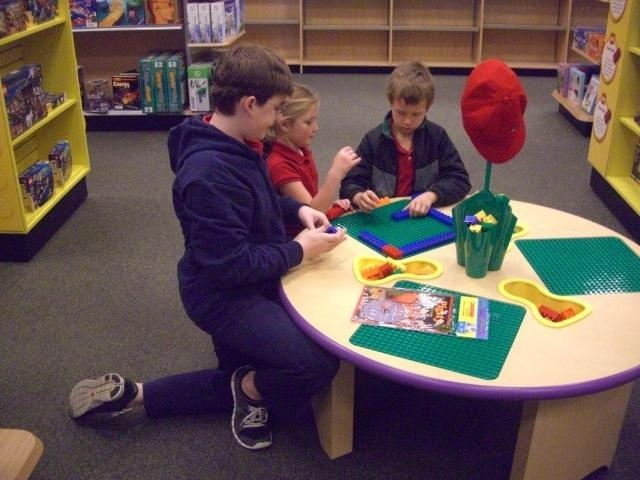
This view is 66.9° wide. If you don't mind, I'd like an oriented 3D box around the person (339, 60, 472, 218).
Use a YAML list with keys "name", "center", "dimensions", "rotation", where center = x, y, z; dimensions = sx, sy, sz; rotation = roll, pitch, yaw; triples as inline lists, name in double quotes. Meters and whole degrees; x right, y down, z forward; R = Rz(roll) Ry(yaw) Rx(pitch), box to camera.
- name: "person"
  center: [0.406, -0.437, 2.326]
  dimensions: [0.588, 0.783, 0.466]
  rotation: [-4, 26, 3]

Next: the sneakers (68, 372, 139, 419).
- name: "sneakers"
  center: [-0.835, 0.593, 1.825]
  dimensions: [0.277, 0.155, 0.114]
  rotation: [-5, -11, 23]

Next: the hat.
- name: "hat"
  center: [0.566, -0.407, 1.591]
  dimensions: [0.216, 0.344, 0.226]
  rotation: [16, 31, 27]

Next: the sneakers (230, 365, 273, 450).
- name: "sneakers"
  center: [-0.263, 0.588, 1.792]
  dimensions: [0.126, 0.316, 0.126]
  rotation: [-9, -6, -40]

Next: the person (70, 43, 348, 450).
- name: "person"
  center: [-0.375, 0.047, 1.794]
  dimensions: [0.911, 1.414, 0.659]
  rotation: [5, 13, 13]
